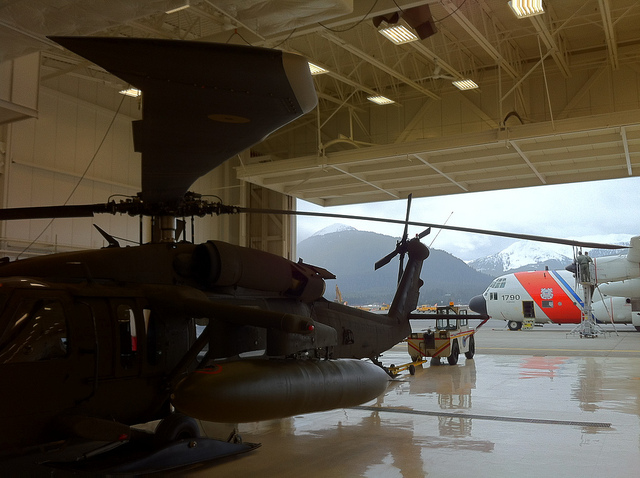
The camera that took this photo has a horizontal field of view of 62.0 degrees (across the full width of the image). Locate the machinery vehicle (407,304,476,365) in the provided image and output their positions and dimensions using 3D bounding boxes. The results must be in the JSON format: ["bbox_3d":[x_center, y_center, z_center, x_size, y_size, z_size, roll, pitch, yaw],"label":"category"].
[{"bbox_3d":[4.375,3.220,18.263,1.401,1.713,2.990,-2,-3,35],"label":"machinery vehicle"}]

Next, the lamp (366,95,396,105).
[{"bbox_3d":[2.592,-5.797,22.044,0.821,0.265,1.211,12,3,32],"label":"lamp"}]
